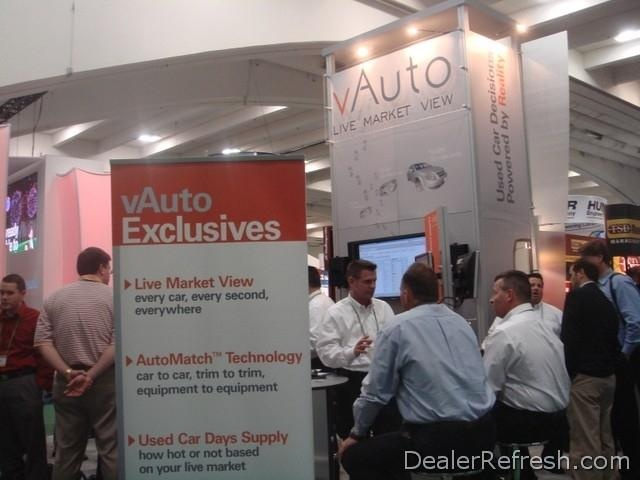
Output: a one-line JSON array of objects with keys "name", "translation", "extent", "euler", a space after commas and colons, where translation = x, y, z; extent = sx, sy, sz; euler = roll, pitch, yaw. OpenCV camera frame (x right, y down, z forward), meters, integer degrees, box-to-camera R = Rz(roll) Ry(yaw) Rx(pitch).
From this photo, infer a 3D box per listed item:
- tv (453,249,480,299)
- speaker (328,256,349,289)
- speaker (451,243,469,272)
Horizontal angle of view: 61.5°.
[{"name": "tv", "translation": [1.161, 0.318, 4.455], "extent": [0.127, 0.399, 0.414], "euler": [7, -13, -6]}, {"name": "speaker", "translation": [0.113, 0.359, 5.623], "extent": [0.228, 0.301, 0.225], "euler": [-1, -10, -43]}, {"name": "speaker", "translation": [1.225, 0.157, 4.789], "extent": [0.065, 0.236, 0.253], "euler": [4, 0, -7]}]
